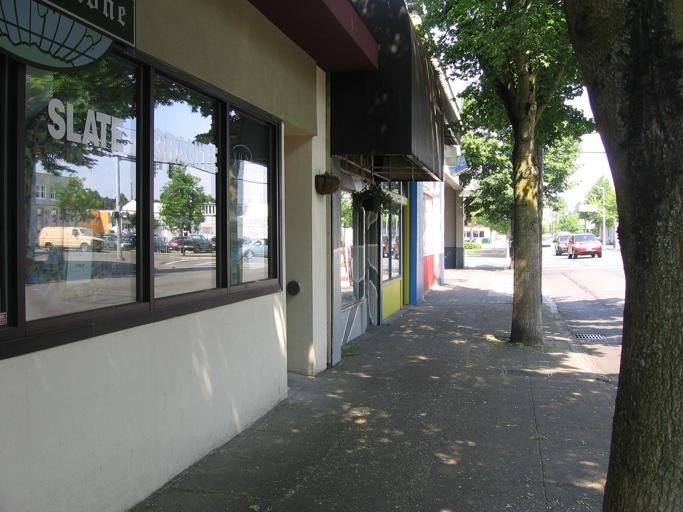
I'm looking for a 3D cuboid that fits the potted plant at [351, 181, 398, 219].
[{"bbox_3d":[0.581,-1.042,9.806,0.542,0.483,0.596,-1,1,21],"label":"potted plant"}]
